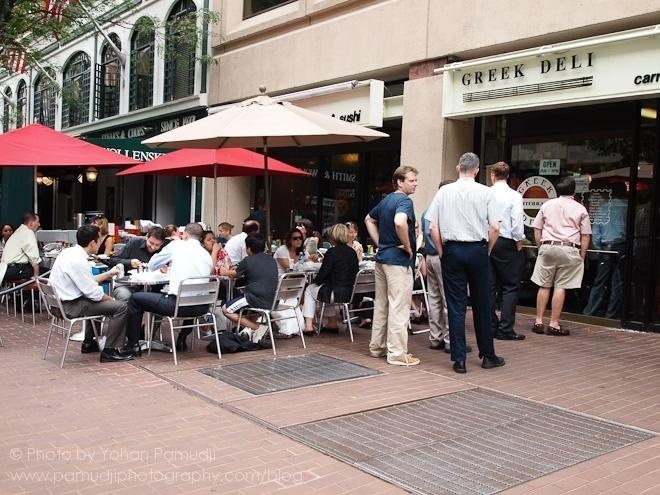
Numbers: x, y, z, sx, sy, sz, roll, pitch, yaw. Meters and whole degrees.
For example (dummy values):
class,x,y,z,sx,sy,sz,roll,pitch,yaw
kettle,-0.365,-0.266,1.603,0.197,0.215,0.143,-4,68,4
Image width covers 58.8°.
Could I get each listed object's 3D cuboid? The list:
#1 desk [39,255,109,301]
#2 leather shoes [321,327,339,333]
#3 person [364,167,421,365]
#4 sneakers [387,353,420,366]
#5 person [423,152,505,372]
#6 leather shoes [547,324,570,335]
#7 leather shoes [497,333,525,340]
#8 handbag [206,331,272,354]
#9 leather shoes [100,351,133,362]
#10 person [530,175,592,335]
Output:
class,x,y,z,sx,sy,sz,roll,pitch,yaw
desk,-3.182,0.336,7.381,0.521,0.649,0.938,-9,17,-40
leather shoes,-0.011,1.291,9.247,0.281,0.073,0.100,7,3,27
person,0.807,0.218,7.397,0.660,2.465,0.643,0,6,-3
sneakers,0.909,1.394,7.352,0.323,0.142,0.163,-1,4,-8
person,1.617,0.189,7.060,0.897,2.604,0.454,2,6,15
leather shoes,3.519,1.283,9.137,0.379,0.152,0.145,-1,2,-14
leather shoes,2.664,1.323,8.728,0.386,0.154,0.147,-2,2,-2
handbag,-1.218,1.296,7.921,0.476,0.153,0.360,2,-2,-39
leather shoes,-2.671,1.347,7.387,0.381,0.154,0.145,0,0,-19
person,3.488,0.296,8.967,0.780,2.119,0.299,3,6,19
